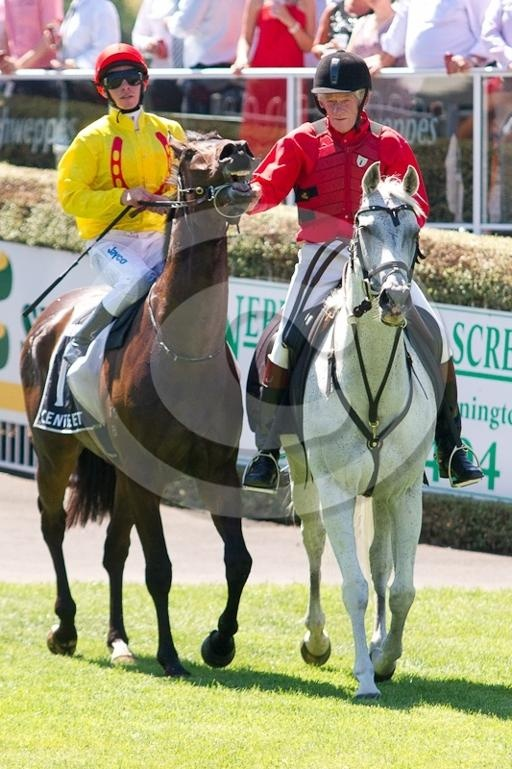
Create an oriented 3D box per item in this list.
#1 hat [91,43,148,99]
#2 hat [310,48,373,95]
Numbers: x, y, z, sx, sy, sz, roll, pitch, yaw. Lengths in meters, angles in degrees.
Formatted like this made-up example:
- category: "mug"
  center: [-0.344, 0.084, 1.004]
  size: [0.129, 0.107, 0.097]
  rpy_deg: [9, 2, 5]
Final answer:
- category: "hat"
  center: [-0.757, -1.707, 6.791]
  size: [0.230, 0.163, 0.306]
  rpy_deg: [-6, -28, -7]
- category: "hat"
  center: [0.418, -1.527, 6.104]
  size: [0.284, 0.212, 0.189]
  rpy_deg: [1, -1, 2]
